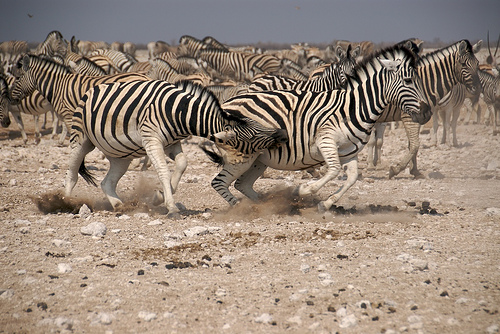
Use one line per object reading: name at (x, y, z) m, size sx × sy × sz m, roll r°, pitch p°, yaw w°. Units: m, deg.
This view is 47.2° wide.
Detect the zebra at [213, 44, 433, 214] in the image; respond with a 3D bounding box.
zebra at (1.087, -0.499, 9.412) m, size 3.588 × 2.365 × 1.055 m, roll -4°, pitch -9°, yaw 21°

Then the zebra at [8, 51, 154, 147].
zebra at (-2.891, -1.188, 10.605) m, size 3.051 × 1.704 × 0.707 m, roll 1°, pitch 16°, yaw 4°

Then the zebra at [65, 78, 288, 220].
zebra at (-1.342, -0.247, 9.371) m, size 3.974 × 2.159 × 1.182 m, roll 5°, pitch 5°, yaw 23°

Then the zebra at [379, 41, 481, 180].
zebra at (3.420, -1.092, 12.380) m, size 1.013 × 2.717 × 3.975 m, roll 3°, pitch -3°, yaw -29°
